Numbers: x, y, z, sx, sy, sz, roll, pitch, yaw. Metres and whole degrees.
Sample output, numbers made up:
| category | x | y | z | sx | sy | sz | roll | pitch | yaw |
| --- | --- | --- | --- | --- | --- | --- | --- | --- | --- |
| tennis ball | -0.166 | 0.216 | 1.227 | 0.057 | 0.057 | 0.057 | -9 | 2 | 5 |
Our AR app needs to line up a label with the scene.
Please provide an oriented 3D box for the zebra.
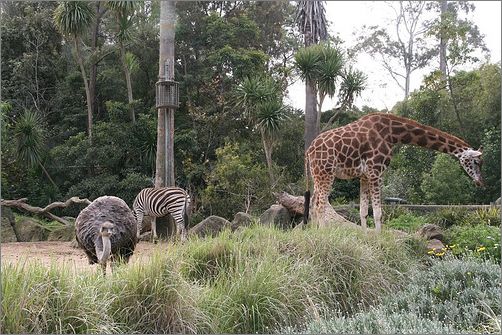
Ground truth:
| category | x | y | z | sx | sy | sz | roll | pitch | yaw |
| --- | --- | --- | --- | --- | --- | --- | --- | --- | --- |
| zebra | -3.042 | 1.446 | 17.449 | 2.146 | 1.530 | 0.585 | 5 | 11 | 25 |

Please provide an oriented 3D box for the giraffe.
| category | x | y | z | sx | sy | sz | roll | pitch | yaw |
| --- | --- | --- | --- | --- | --- | --- | --- | --- | --- |
| giraffe | 4.497 | 0.000 | 15.739 | 5.186 | 3.362 | 1.836 | -2 | 10 | -13 |
